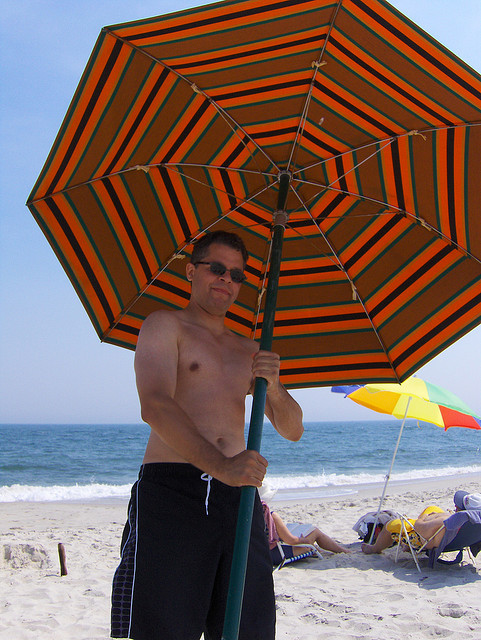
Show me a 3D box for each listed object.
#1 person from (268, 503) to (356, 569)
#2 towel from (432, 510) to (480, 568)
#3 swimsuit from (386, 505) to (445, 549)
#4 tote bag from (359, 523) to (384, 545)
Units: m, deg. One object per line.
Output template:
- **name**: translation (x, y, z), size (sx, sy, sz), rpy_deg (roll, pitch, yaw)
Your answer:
- **person**: translation (0.741, 2.638, 7.662), size (1.299, 0.660, 0.388), rpy_deg (-2, -5, -19)
- **towel**: translation (2.266, 2.226, 6.555), size (0.180, 0.407, 0.453), rpy_deg (19, -21, -27)
- **swimsuit**: translation (2.012, 2.491, 7.339), size (0.655, 0.223, 0.482), rpy_deg (-2, 6, 30)
- **tote bag**: translation (1.689, 2.717, 7.915), size (0.095, 0.236, 0.249), rpy_deg (35, -16, -14)
